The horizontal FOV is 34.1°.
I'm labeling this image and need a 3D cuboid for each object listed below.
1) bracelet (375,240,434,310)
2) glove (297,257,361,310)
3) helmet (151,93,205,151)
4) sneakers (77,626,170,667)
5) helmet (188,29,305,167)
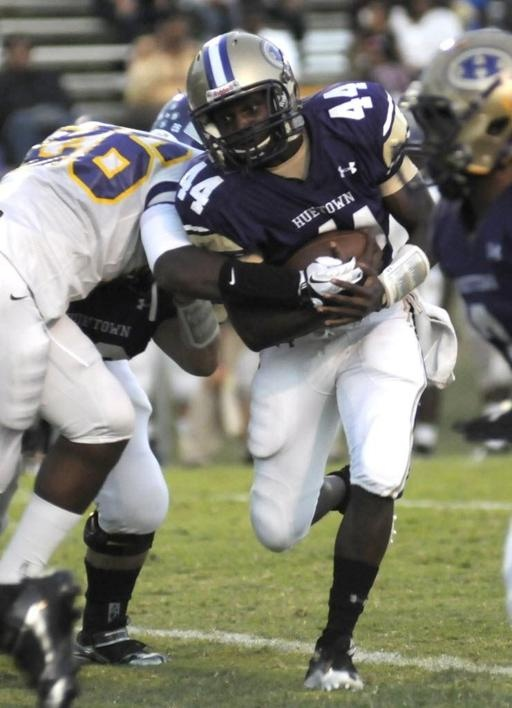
[{"bbox_3d":[0.354,-0.187,2.004,0.181,0.083,0.107,-40,32,-25],"label":"bracelet"},{"bbox_3d":[0.161,-0.158,1.849,0.137,0.093,0.112,3,34,6],"label":"glove"},{"bbox_3d":[-0.197,-0.653,2.319,0.163,0.125,0.110,-2,15,-23],"label":"helmet"},{"bbox_3d":[-0.331,0.697,2.028,0.231,0.084,0.083,0,-3,18],"label":"sneakers"},{"bbox_3d":[-0.023,-0.614,1.999,0.268,0.259,0.333,-14,21,22],"label":"helmet"}]
